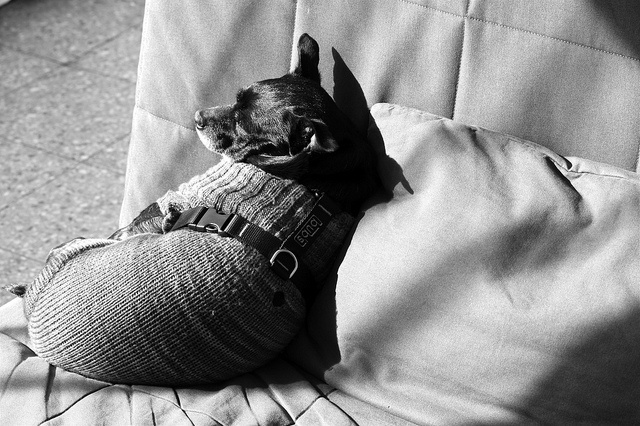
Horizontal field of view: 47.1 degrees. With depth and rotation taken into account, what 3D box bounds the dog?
[{"bbox_3d":[-0.248,0.048,1.838,0.856,0.554,0.578,-23,63,-32],"label":"dog"}]
